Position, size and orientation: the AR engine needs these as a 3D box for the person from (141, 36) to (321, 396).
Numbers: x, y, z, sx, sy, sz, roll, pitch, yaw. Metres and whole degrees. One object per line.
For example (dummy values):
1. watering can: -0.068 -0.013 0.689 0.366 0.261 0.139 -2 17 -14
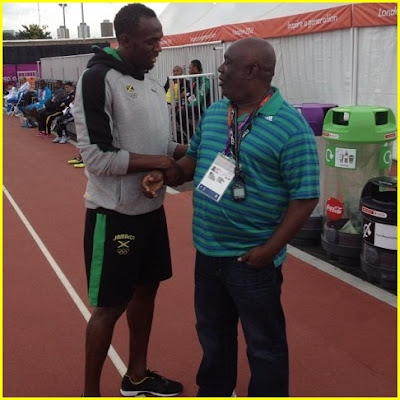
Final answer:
1. person: 0.219 0.276 1.482 0.566 1.469 0.297 2 13 18

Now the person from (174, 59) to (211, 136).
1. person: -0.216 -2.376 8.099 1.018 1.905 0.756 -9 18 -15

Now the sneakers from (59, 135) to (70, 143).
1. sneakers: -4.978 -2.209 12.115 0.166 0.193 0.451 -1 45 19

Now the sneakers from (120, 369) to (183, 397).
1. sneakers: -0.295 1.115 2.082 0.386 0.159 0.144 0 -9 -7
